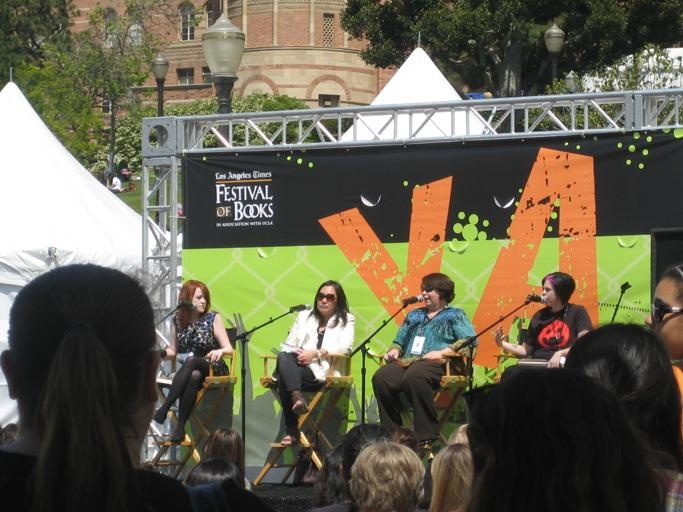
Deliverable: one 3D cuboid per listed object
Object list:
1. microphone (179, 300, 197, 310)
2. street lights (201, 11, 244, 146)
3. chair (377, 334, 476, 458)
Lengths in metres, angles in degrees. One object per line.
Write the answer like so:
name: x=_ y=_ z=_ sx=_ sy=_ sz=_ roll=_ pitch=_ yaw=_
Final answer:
microphone: x=-2.192 y=0.699 z=21.284 sx=0.324 sy=0.090 sz=0.088 roll=11 pitch=-43 yaw=-37
street lights: x=-1.828 y=-2.975 z=22.820 sx=0.635 sy=1.682 sz=0.503 roll=1 pitch=-7 yaw=-6
chair: x=1.133 y=1.743 z=21.254 sx=1.360 sy=1.839 sz=1.389 roll=1 pitch=-4 yaw=15
